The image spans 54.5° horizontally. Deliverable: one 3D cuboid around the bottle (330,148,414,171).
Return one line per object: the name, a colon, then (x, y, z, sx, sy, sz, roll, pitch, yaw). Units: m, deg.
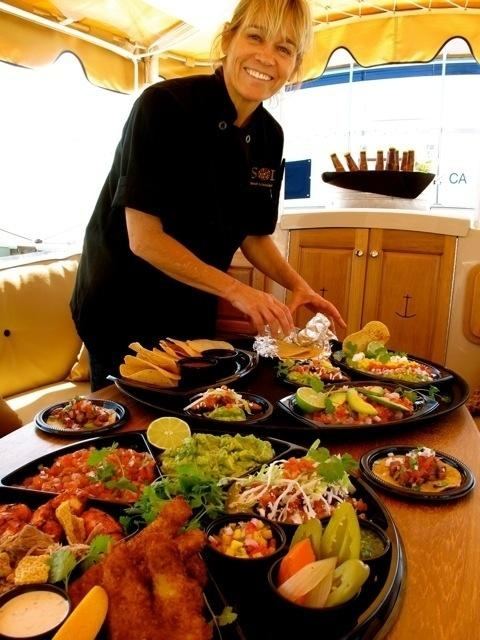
bottle: (0.926, -1.113, 3.236, 0.518, 0.082, 0.419, 0, -16, 17)

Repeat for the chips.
chips: (-0.136, 0.115, 1.465, 0.413, 0.056, 0.254, -9, 16, -39)

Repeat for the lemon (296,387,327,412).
lemon: (0.179, 0.205, 1.188, 0.063, 0.035, 0.059, 13, 18, -23)

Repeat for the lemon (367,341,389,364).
lemon: (0.505, 0.117, 1.694, 0.061, 0.043, 0.076, 2, 21, 3)
